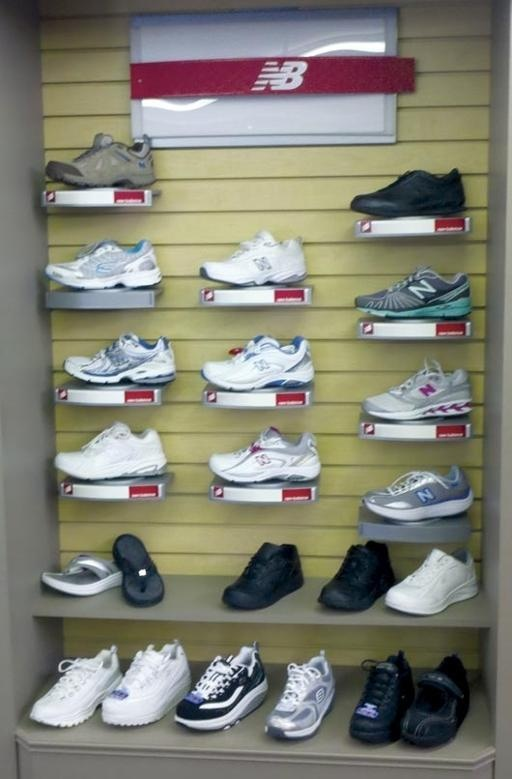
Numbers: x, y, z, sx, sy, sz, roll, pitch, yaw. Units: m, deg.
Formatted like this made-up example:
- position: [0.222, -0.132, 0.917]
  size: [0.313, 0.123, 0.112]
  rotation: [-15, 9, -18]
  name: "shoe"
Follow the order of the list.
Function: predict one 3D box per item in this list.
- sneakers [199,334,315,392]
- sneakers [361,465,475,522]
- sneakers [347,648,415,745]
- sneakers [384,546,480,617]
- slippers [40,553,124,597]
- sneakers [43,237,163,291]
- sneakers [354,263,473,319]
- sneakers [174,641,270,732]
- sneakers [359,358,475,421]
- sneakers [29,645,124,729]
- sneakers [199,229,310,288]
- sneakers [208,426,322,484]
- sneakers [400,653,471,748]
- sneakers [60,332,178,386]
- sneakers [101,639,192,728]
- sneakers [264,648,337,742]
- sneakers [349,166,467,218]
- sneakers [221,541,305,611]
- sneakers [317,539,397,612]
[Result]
- position: [0.020, -0.078, 2.039]
  size: [0.387, 0.186, 0.144]
  rotation: [-1, 6, -5]
  name: "sneakers"
- position: [0.511, 0.318, 2.107]
  size: [0.309, 0.133, 0.156]
  rotation: [-1, -1, -5]
  name: "sneakers"
- position: [0.367, 0.870, 1.933]
  size: [0.105, 0.131, 0.290]
  rotation: [-3, 13, 23]
  name: "sneakers"
- position: [0.557, 0.583, 2.089]
  size: [0.325, 0.148, 0.134]
  rotation: [-9, 9, -29]
  name: "sneakers"
- position: [-0.570, 0.598, 2.236]
  size: [0.101, 0.090, 0.281]
  rotation: [1, -2, 35]
  name: "slippers"
- position: [-0.449, -0.375, 2.067]
  size: [0.389, 0.183, 0.138]
  rotation: [0, 4, -13]
  name: "sneakers"
- position: [0.433, -0.293, 2.021]
  size: [0.415, 0.189, 0.139]
  rotation: [1, 4, -3]
  name: "sneakers"
- position: [-0.091, 0.865, 1.962]
  size: [0.127, 0.166, 0.349]
  rotation: [1, 2, 40]
  name: "sneakers"
- position: [0.517, 0.010, 2.153]
  size: [0.401, 0.210, 0.145]
  rotation: [-2, 2, -1]
  name: "sneakers"
- position: [-0.531, 0.891, 2.036]
  size: [0.121, 0.136, 0.338]
  rotation: [2, 2, 31]
  name: "sneakers"
- position: [-0.005, -0.400, 2.085]
  size: [0.326, 0.163, 0.115]
  rotation: [-7, 7, -18]
  name: "sneakers"
- position: [0.046, 0.212, 2.169]
  size: [0.394, 0.195, 0.147]
  rotation: [1, 1, -2]
  name: "sneakers"
- position: [0.517, 0.870, 1.930]
  size: [0.118, 0.128, 0.349]
  rotation: [-1, 3, 19]
  name: "sneakers"
- position: [-0.398, -0.098, 2.078]
  size: [0.365, 0.168, 0.143]
  rotation: [2, 2, -3]
  name: "sneakers"
- position: [-0.313, 0.869, 2.018]
  size: [0.130, 0.173, 0.358]
  rotation: [-3, -3, 27]
  name: "sneakers"
- position: [0.137, 0.870, 1.927]
  size: [0.115, 0.141, 0.327]
  rotation: [-5, 4, 31]
  name: "sneakers"
- position: [0.477, -0.579, 2.024]
  size: [0.382, 0.160, 0.138]
  rotation: [-1, 6, 0]
  name: "sneakers"
- position: [0.025, 0.580, 2.176]
  size: [0.114, 0.159, 0.325]
  rotation: [3, 7, 35]
  name: "sneakers"
- position: [0.327, 0.584, 2.162]
  size: [0.152, 0.161, 0.357]
  rotation: [3, 7, 38]
  name: "sneakers"
